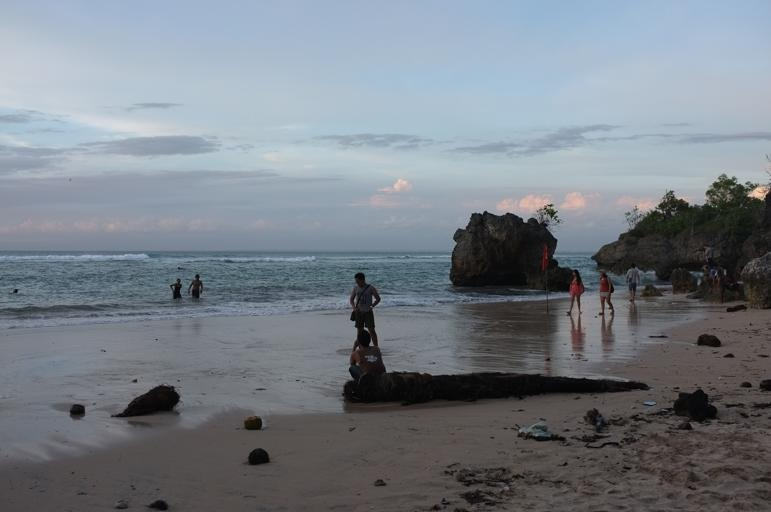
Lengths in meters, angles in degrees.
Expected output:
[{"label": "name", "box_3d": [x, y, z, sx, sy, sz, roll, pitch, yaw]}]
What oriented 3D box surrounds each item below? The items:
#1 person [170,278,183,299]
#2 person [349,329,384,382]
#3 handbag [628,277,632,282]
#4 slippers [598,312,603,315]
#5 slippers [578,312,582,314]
[{"label": "person", "box_3d": [-9.059, 1.437, 32.446, 0.400, 1.017, 1.235, -4, 10, -18]}, {"label": "person", "box_3d": [-0.354, 2.042, 15.075, 0.678, 0.947, 1.057, -1, 10, -2]}, {"label": "handbag", "box_3d": [9.370, 0.903, 28.575, 0.173, 0.155, 0.095, -4, -5, 43]}, {"label": "slippers", "box_3d": [7.540, 2.007, 26.053, 0.199, 0.047, 0.194, -1, 2, 30]}, {"label": "slippers", "box_3d": [6.820, 1.992, 26.100, 0.159, 0.037, 0.164, 0, 4, 14]}]
